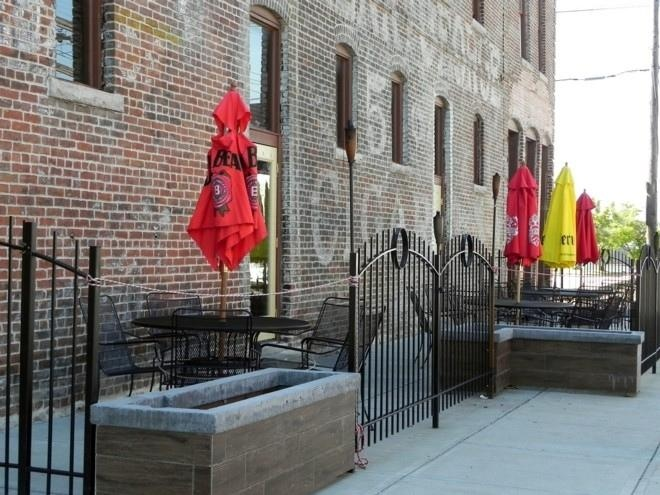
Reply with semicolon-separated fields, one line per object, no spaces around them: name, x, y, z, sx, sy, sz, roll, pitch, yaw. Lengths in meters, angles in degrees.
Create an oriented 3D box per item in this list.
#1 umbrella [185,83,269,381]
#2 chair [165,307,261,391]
umbrella;-1.071;-0.729;8.283;0.781;1.941;0.445;0;-3;-12
chair;-1.155;1.034;8.472;0.791;0.590;0.900;-8;0;25
